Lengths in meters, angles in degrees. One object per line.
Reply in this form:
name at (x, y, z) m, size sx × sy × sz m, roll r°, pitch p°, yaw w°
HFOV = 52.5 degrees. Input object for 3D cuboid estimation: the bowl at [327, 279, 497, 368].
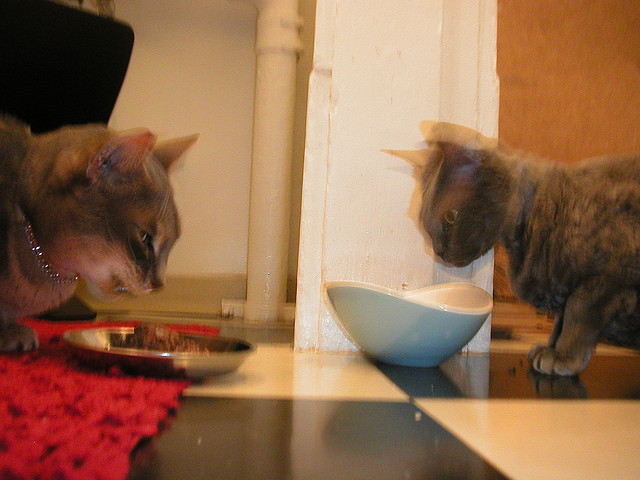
bowl at (0.330, 0.291, 2.342) m, size 0.624 × 0.305 × 0.383 m, roll 4°, pitch 0°, yaw -3°
